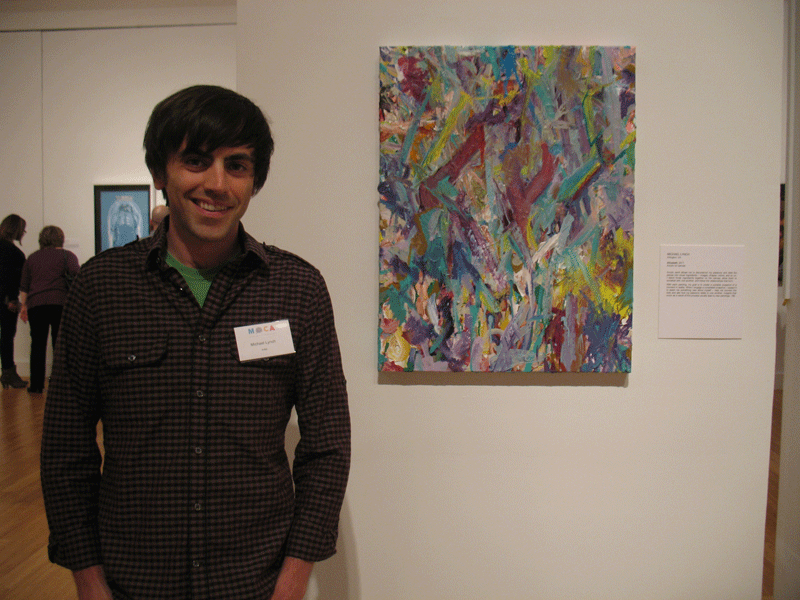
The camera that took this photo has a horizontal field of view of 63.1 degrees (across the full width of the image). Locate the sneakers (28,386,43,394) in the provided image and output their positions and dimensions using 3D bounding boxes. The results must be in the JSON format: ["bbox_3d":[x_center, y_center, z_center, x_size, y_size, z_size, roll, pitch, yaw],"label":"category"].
[{"bbox_3d":[-4.018,0.996,7.191,0.148,0.077,0.060,-1,3,8],"label":"sneakers"}]
